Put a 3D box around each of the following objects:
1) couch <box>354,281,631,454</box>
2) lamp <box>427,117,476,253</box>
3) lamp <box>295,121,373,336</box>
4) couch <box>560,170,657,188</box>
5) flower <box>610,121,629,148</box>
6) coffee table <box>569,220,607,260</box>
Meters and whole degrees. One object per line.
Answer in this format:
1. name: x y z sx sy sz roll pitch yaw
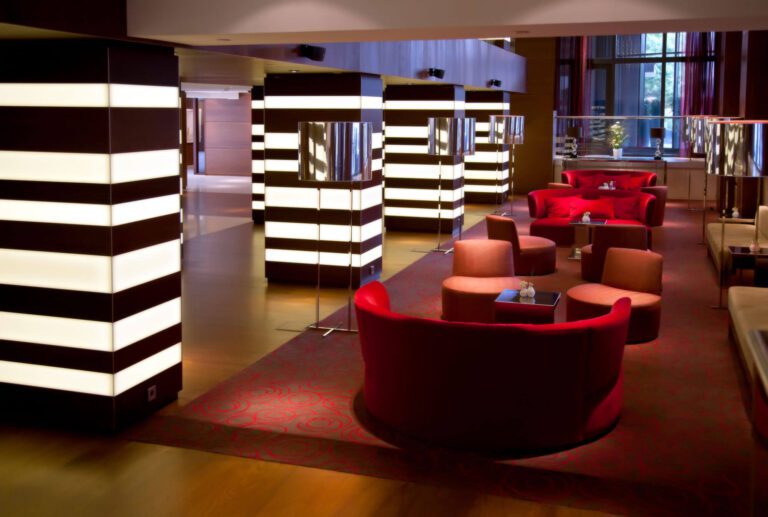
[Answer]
1. couch: 0.931 1.023 4.985 2.144 0.922 1.243 3 17 16
2. lamp: 1.412 -1.591 12.426 0.882 2.644 2.905 2 14 8
3. lamp: -0.653 -0.553 8.394 1.025 2.705 2.476 -2 14 -6
4. couch: 5.786 -2.044 15.459 2.194 0.384 1.177 6 16 23
5. flower: 7.823 -4.159 20.100 0.501 0.846 1.044 5 15 19
6. coffee table: 3.768 -0.407 11.327 0.845 0.809 0.848 1 6 21
